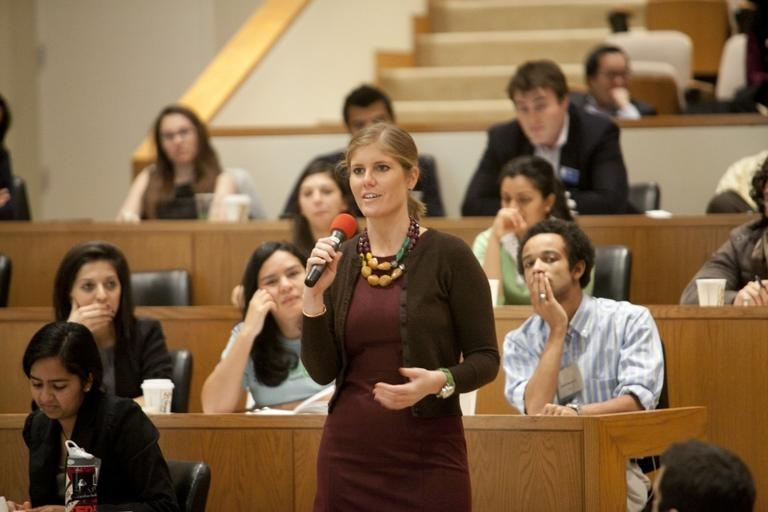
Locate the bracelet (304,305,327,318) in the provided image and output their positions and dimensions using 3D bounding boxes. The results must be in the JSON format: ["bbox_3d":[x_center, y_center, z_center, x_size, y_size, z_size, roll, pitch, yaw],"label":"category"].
[{"bbox_3d":[-0.205,0.164,2.322,0.067,0.033,0.032,0,-1,-23],"label":"bracelet"}]

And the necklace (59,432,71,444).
[{"bbox_3d":[-1.102,0.630,2.695,0.028,0.035,0.040,-2,-26,-15],"label":"necklace"}]

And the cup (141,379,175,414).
[{"bbox_3d":[-0.886,0.546,3.057,0.124,0.126,0.126,0,-6,0],"label":"cup"}]

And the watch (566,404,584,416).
[{"bbox_3d":[0.697,0.562,2.848,0.040,0.017,0.038,16,-3,32],"label":"watch"}]

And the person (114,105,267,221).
[{"bbox_3d":[-1.203,-0.448,4.491,0.659,0.864,0.594,-3,-7,-11],"label":"person"}]

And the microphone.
[{"bbox_3d":[-0.147,-0.043,2.380,0.087,0.100,0.328,16,44,15],"label":"microphone"}]

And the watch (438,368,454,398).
[{"bbox_3d":[0.185,0.364,2.208,0.047,0.081,0.073,6,-4,-8],"label":"watch"}]

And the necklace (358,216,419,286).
[{"bbox_3d":[0.017,-0.011,2.362,0.187,0.199,0.108,-1,-1,1],"label":"necklace"}]

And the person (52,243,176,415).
[{"bbox_3d":[-1.176,0.386,3.382,0.497,0.799,0.438,-9,-6,6],"label":"person"}]

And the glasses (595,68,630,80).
[{"bbox_3d":[1.457,-1.151,4.910,0.110,0.036,0.113,-1,-4,-1],"label":"glasses"}]

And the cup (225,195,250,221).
[{"bbox_3d":[-0.793,-0.261,4.282,0.128,0.114,0.133,-2,0,0],"label":"cup"}]

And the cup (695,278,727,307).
[{"bbox_3d":[1.415,0.155,3.354,0.110,0.103,0.123,1,-9,2],"label":"cup"}]
